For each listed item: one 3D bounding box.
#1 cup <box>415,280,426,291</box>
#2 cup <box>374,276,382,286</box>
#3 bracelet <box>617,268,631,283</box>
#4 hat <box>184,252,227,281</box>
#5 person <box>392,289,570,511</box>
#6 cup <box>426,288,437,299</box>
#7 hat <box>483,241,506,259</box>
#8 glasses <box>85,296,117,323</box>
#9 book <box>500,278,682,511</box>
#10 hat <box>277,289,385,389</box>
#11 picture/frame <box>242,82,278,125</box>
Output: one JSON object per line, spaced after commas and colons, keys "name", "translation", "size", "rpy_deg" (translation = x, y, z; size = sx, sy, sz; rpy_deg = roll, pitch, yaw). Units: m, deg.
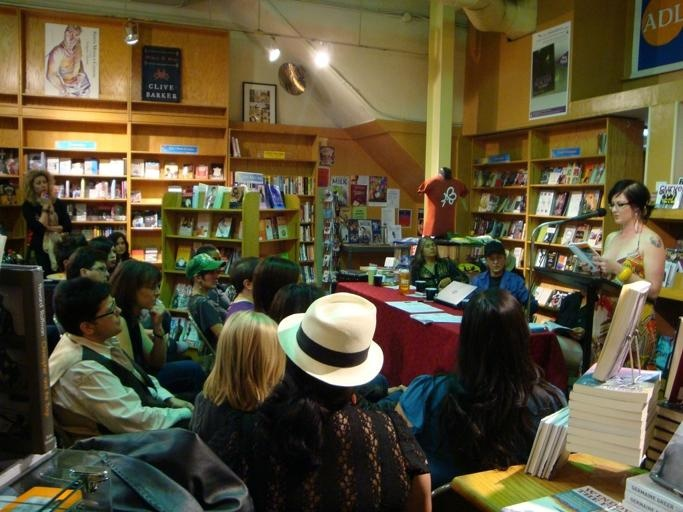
{"name": "cup", "translation": [0.708, 0.262, 4.496], "size": [0.079, 0.069, 0.083], "rpy_deg": [0, 6, 0]}
{"name": "cup", "translation": [0.351, 0.238, 4.926], "size": [0.081, 0.094, 0.085], "rpy_deg": [2, 13, -1]}
{"name": "bracelet", "translation": [1.927, 0.129, 3.433], "size": [0.062, 0.047, 0.076], "rpy_deg": [-13, 24, 0]}
{"name": "hat", "translation": [-1.076, 0.071, 3.957], "size": [0.261, 0.145, 0.175], "rpy_deg": [-23, 10, 10]}
{"name": "person", "translation": [0.587, 0.594, 2.427], "size": [0.784, 1.152, 0.812], "rpy_deg": [2, 18, 8]}
{"name": "cup", "translation": [0.757, 0.315, 4.244], "size": [0.079, 0.073, 0.086], "rpy_deg": [2, -1, 0]}
{"name": "hat", "translation": [1.430, -0.067, 4.691], "size": [0.202, 0.162, 0.244], "rpy_deg": [6, 7, 18]}
{"name": "glasses", "translation": [-1.127, 0.248, 2.340], "size": [0.095, 0.030, 0.097], "rpy_deg": [-14, 17, -8]}
{"name": "book", "translation": [0.924, 0.372, 2.026], "size": [0.590, 1.107, 0.798], "rpy_deg": [6, 4, 30]}
{"name": "hat", "translation": [-0.024, 0.305, 1.774], "size": [0.361, 0.163, 0.338], "rpy_deg": [-2, 48, -20]}
{"name": "picture/frame", "translation": [-1.352, -2.464, 8.063], "size": [0.701, 0.950, 0.061], "rpy_deg": [3, -9, -32]}
